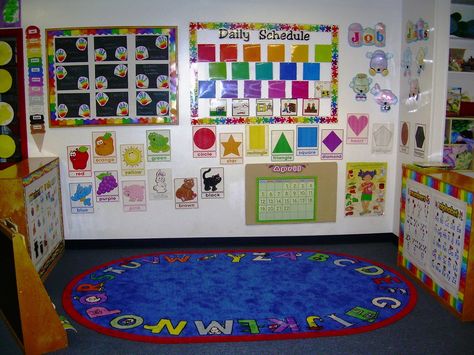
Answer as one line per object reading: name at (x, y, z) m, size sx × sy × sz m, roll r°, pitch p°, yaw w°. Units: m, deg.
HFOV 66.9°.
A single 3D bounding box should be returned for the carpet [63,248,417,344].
carpet at (0.007, 0.968, 3.203) m, size 2.963 × 0.032 × 1.475 m, roll -2°, pitch 14°, yaw -5°
